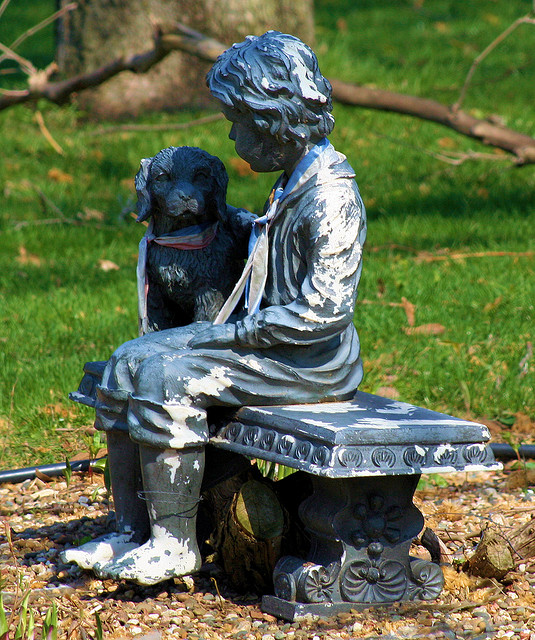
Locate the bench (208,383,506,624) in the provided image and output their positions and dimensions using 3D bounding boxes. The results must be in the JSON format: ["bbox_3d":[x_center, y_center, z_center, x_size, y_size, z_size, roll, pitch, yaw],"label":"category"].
[{"bbox_3d":[0.470,0.856,7.275,1.204,0.734,1.200,13,-25,-19],"label":"bench"}]

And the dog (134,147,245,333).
[{"bbox_3d":[-0.292,-0.320,7.586,0.513,0.830,0.438,-3,22,0],"label":"dog"}]
